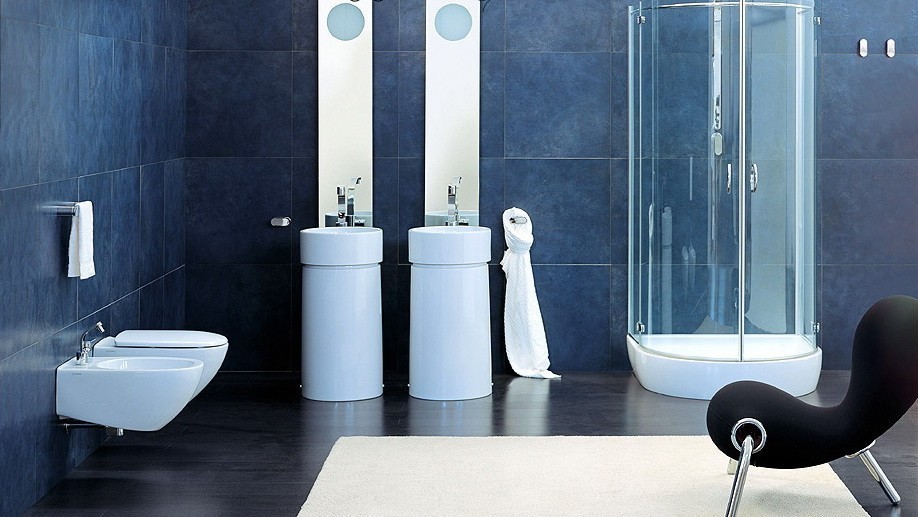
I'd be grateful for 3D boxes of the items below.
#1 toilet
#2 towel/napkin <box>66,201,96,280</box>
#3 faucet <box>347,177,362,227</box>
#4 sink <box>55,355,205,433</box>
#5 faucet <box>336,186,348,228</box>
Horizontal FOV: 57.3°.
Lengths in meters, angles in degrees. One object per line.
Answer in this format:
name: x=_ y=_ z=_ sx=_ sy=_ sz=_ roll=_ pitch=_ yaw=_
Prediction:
toilet: x=-2.011 y=0.742 z=5.881 sx=0.663 sy=0.376 sz=0.490 roll=1 pitch=1 yaw=-4
towel/napkin: x=-2.444 y=-0.114 z=5.411 sx=0.162 sy=0.493 sz=0.153 roll=-4 pitch=8 yaw=-18
faucet: x=-0.859 y=-0.468 z=6.936 sx=0.142 sy=0.392 sz=0.040 roll=-1 pitch=7 yaw=-2
sink: x=-2.153 y=0.840 z=5.449 sx=0.732 sy=0.310 sz=0.532 roll=1 pitch=-1 yaw=-4
faucet: x=-0.962 y=-0.435 z=6.928 sx=0.092 sy=0.324 sz=0.041 roll=-2 pitch=7 yaw=-8
